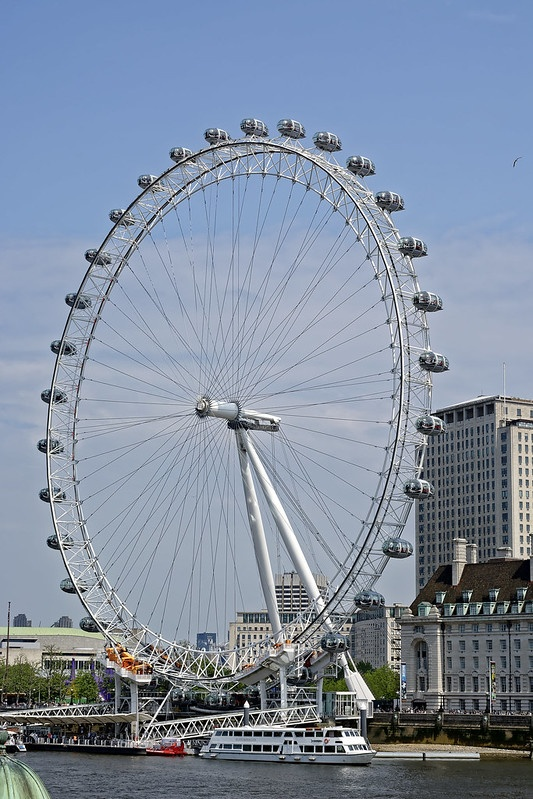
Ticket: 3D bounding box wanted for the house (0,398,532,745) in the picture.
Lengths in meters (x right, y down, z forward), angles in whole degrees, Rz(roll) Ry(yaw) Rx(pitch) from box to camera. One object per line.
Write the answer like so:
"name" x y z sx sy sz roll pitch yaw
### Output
"house" -13.294 22.718 157.025 79.738 35.916 21.708 -12 -14 37
